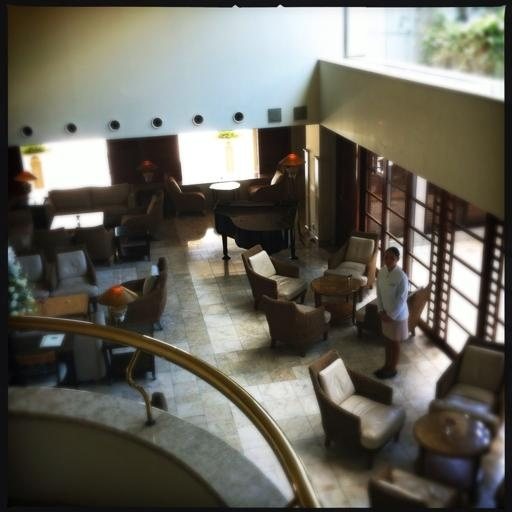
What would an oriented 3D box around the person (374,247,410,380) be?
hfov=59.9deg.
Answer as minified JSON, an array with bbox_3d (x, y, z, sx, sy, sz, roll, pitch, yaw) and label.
[{"bbox_3d":[1.837,0.886,6.125,0.435,1.583,0.473,2,19,22],"label":"person"}]

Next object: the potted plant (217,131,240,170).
[{"bbox_3d":[-0.931,-3.587,15.304,0.620,1.418,0.474,1,19,20],"label":"potted plant"}]
